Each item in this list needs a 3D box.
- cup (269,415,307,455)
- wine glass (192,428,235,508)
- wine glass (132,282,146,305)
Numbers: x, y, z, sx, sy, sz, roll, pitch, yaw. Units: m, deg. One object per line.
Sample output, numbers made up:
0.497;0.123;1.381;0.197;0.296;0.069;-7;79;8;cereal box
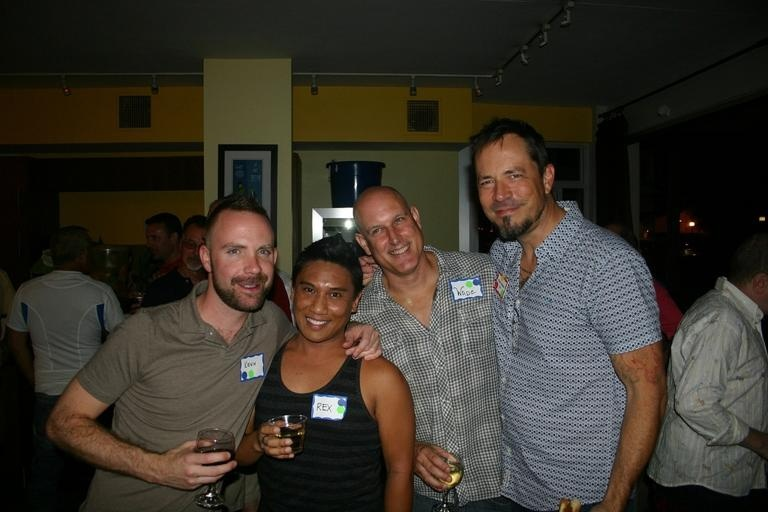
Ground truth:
-0.615;1.125;3.906;0.235;0.204;0.241;-1;-6;0;cup
-1.144;1.439;4.046;0.233;0.654;0.346;2;2;-17;wine glass
-2.788;0.418;6.838;0.156;0.239;0.159;1;-2;-1;wine glass
